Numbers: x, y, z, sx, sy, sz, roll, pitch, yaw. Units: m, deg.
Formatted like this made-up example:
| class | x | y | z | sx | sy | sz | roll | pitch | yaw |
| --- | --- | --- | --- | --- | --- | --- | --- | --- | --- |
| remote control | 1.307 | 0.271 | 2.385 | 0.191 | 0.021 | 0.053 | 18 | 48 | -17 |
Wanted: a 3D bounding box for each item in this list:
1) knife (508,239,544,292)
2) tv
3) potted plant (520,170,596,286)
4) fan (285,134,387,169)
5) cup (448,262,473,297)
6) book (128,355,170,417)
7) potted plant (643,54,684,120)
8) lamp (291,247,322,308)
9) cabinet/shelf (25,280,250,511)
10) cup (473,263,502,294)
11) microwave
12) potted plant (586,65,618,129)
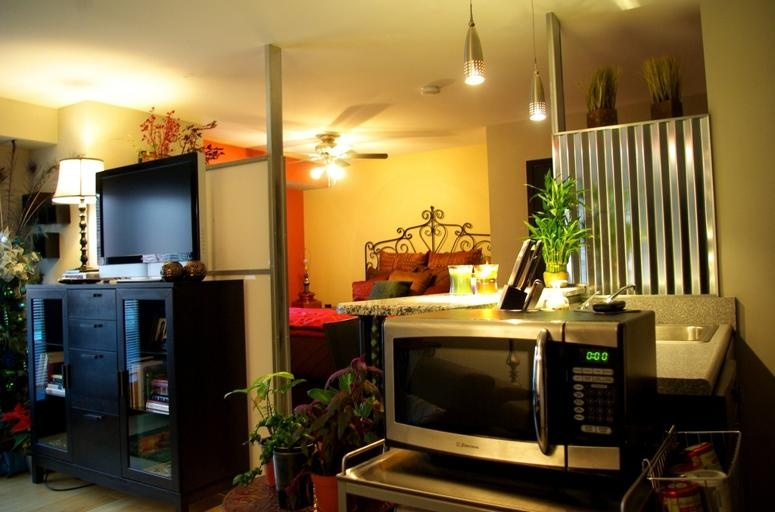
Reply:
| class | x | y | z | sx | sy | sz | roll | pitch | yaw |
| --- | --- | --- | --- | --- | --- | --- | --- | --- | --- |
| knife | 0.578 | 0.035 | 2.509 | 0.119 | 0.236 | 0.056 | 20 | 4 | -11 |
| tv | -1.834 | -0.263 | 4.574 | 1.134 | 0.913 | 0.209 | -3 | -4 | 29 |
| potted plant | 1.135 | -0.131 | 3.694 | 0.526 | 0.670 | 0.535 | -2 | 5 | -4 |
| fan | -0.713 | -1.279 | 7.117 | 1.285 | 0.479 | 1.409 | -4 | 7 | -21 |
| cup | 0.472 | 0.154 | 3.763 | 0.152 | 0.180 | 0.143 | 0 | 1 | 0 |
| book | -1.604 | 0.894 | 4.074 | 0.361 | 0.367 | 0.143 | 1 | 1 | 33 |
| potted plant | 1.852 | -1.133 | 3.980 | 0.246 | 0.483 | 0.269 | 0 | 1 | 7 |
| lamp | -1.228 | 0.444 | 8.955 | 0.502 | 0.752 | 0.486 | -1 | -1 | 9 |
| cabinet/shelf | -1.913 | 0.962 | 4.471 | 1.842 | 1.588 | 0.651 | 0 | 1 | 25 |
| cup | 0.609 | 0.133 | 3.754 | 0.173 | 0.175 | 0.175 | 1 | -4 | 0 |
| microwave | 0.528 | 0.548 | 2.496 | 1.009 | 0.570 | 0.650 | -4 | -5 | 38 |
| potted plant | 1.488 | -1.102 | 4.083 | 0.211 | 0.454 | 0.204 | 0 | 1 | -7 |
